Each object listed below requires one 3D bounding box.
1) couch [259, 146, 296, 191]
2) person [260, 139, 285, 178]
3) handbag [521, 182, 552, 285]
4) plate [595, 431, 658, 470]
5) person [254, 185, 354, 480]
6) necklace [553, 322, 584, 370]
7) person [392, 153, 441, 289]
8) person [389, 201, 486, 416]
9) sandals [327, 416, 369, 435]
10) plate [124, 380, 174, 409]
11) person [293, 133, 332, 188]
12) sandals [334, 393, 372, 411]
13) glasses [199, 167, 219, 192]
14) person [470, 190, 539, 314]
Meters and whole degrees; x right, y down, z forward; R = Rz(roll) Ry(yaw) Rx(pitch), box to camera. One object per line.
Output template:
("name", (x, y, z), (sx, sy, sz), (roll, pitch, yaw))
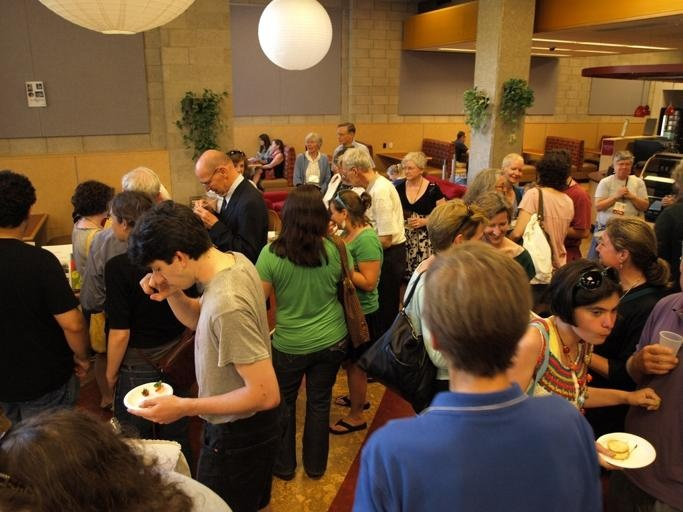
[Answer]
("couch", (-1.329, -1.906, 10.773), (0.802, 1.198, 1.171), (0, 15, -8))
("person", (-1.497, -2.072, 10.705), (0.574, 0.824, 0.562), (7, 5, 11))
("handbag", (1.462, -0.154, 3.787), (0.204, 0.344, 0.758), (-6, 52, 17))
("plate", (1.131, 0.775, 2.023), (0.236, 0.066, 0.161), (-2, 18, -9))
("person", (-0.244, 0.473, 3.133), (0.516, 1.855, 0.551), (-2, 20, -15))
("necklace", (0.928, 0.369, 2.164), (0.068, 0.181, 0.126), (-29, -33, 24))
("person", (0.769, -0.303, 5.135), (0.531, 1.489, 0.526), (19, 42, 35))
("person", (0.706, 0.373, 2.990), (0.385, 1.424, 0.408), (-13, 23, -11))
("sandals", (0.049, 1.191, 3.621), (0.244, 0.085, 0.106), (0, 4, -14))
("plate", (-0.835, 0.581, 2.146), (0.172, 0.050, 0.188), (-1, 25, -2))
("person", (-0.394, -1.322, 7.151), (0.622, 0.764, 0.421), (-6, 17, -22))
("sandals", (0.094, 1.121, 3.895), (0.302, 0.105, 0.127), (4, 5, 12))
("glasses", (-0.931, -0.538, 3.575), (0.049, 0.140, 0.103), (-12, 4, -9))
("person", (1.107, -0.052, 3.554), (0.400, 1.060, 0.358), (-25, 34, -14))
